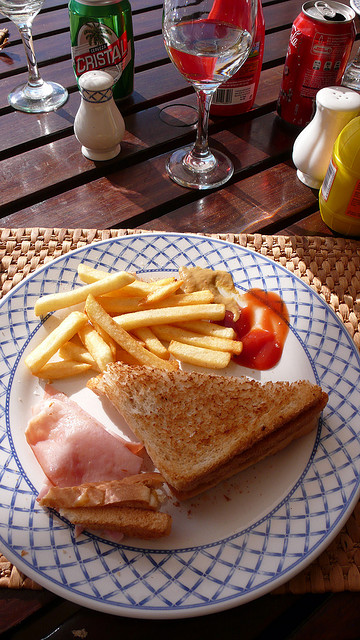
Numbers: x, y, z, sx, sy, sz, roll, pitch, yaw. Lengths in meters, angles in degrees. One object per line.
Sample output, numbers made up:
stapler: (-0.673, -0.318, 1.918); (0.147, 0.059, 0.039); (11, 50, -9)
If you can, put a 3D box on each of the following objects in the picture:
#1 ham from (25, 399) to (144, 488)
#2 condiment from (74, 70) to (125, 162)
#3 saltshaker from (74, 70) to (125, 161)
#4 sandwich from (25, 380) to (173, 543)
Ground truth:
ham: (-0.192, 0.198, 1.005); (0.203, 0.128, 0.191); (-11, 27, -19)
condiment: (-0.258, -0.658, 1.597); (0.171, 0.249, 0.178); (27, 56, 13)
saltshaker: (-0.256, -0.631, 1.581); (0.153, 0.274, 0.133); (-10, 46, -9)
sandwich: (-0.170, 0.252, 0.944); (0.247, 0.089, 0.425); (-10, 34, -37)
